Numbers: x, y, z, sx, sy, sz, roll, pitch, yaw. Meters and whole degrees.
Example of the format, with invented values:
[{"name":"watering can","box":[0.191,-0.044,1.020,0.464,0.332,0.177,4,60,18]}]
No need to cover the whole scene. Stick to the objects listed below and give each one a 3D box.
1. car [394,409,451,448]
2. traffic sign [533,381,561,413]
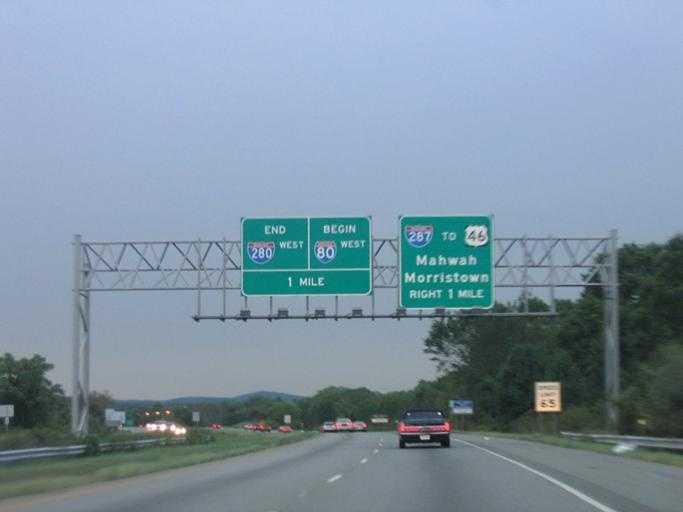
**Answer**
[{"name":"car","box":[5.262,11.014,83.053,3.284,2.629,7.218,-1,-7,2]},{"name":"traffic sign","box":[14.782,9.999,92.772,1.767,2.142,2.705,-3,-12,6]}]
